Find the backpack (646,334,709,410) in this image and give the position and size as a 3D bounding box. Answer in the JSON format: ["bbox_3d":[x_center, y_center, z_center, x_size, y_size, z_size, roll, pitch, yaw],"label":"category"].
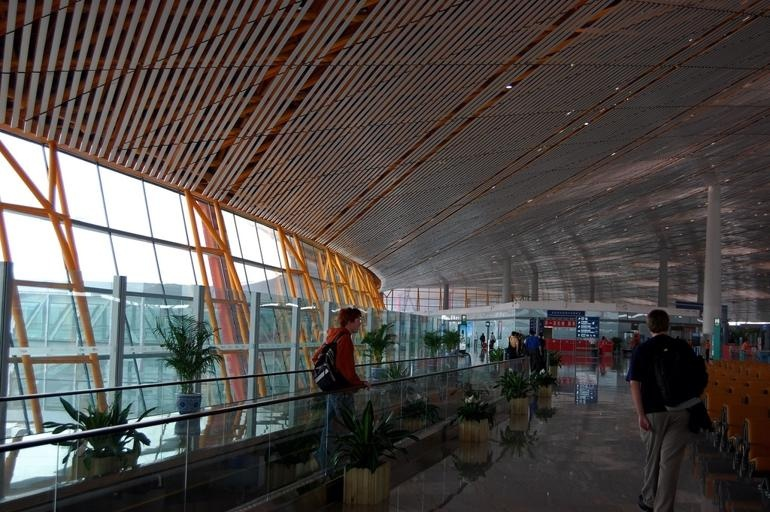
[{"bbox_3d":[3.383,1.393,5.854,0.658,0.750,0.455,-19,1,6],"label":"backpack"}]
